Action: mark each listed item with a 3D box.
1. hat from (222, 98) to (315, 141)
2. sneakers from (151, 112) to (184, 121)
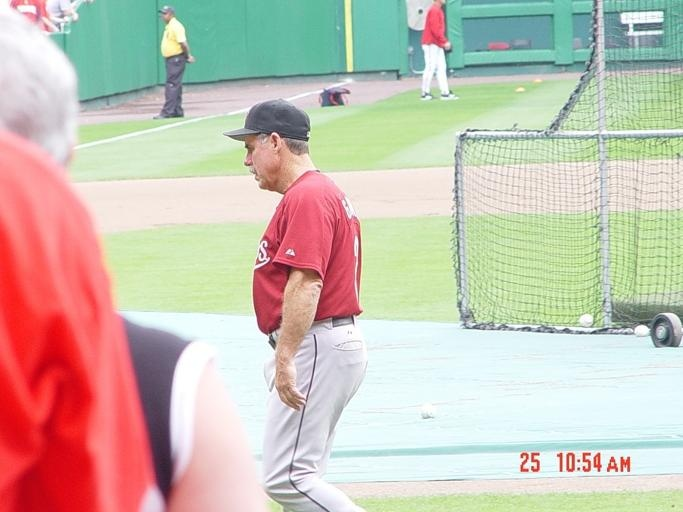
[{"bbox_3d":[-0.583,-1.192,14.022,0.572,0.281,0.363,4,1,2],"label":"hat"},{"bbox_3d":[-3.136,-2.540,28.924,0.539,0.199,0.176,1,2,-18],"label":"sneakers"}]
